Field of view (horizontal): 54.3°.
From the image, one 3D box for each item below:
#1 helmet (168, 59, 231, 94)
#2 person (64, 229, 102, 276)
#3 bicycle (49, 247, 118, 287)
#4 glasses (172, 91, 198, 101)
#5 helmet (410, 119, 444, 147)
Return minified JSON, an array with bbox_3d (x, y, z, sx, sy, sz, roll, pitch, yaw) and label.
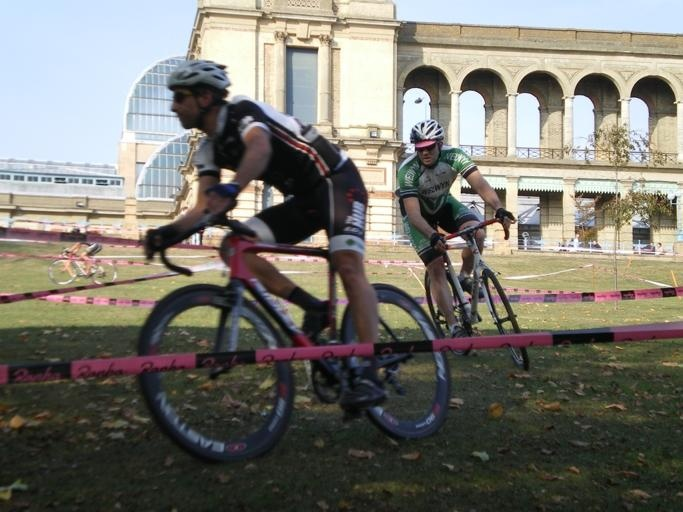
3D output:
[{"bbox_3d":[-0.977,-1.229,4.531,0.365,0.138,0.235,0,19,-10],"label":"helmet"},{"bbox_3d":[-6.586,0.038,16.884,0.753,0.903,1.460,-3,10,-22],"label":"person"},{"bbox_3d":[-6.442,0.284,16.650,1.552,0.880,0.835,4,-8,-20],"label":"bicycle"},{"bbox_3d":[-1.065,-1.082,4.484,0.083,0.055,0.111,-2,-3,41],"label":"glasses"},{"bbox_3d":[0.855,-1.245,6.798,0.313,0.292,0.386,2,9,7],"label":"helmet"}]
